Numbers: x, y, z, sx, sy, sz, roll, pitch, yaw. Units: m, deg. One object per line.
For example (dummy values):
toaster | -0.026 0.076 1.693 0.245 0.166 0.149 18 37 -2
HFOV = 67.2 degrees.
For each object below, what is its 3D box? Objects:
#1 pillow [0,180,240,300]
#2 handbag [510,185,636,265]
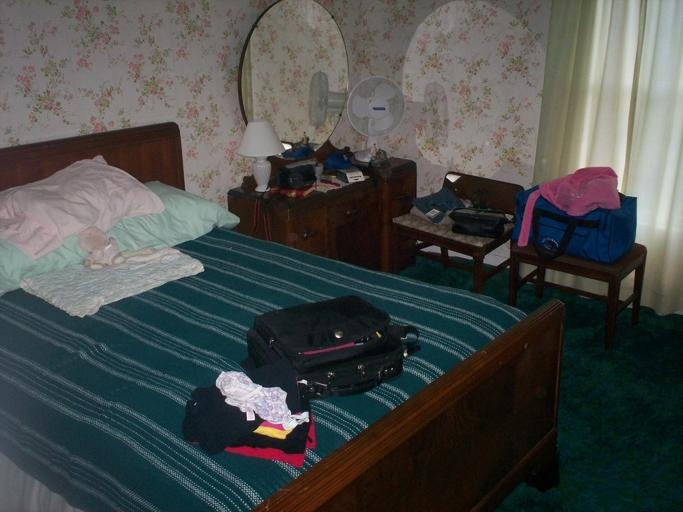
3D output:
pillow | -1.122 -0.109 2.715 0.509 0.166 0.787 20 34 29
handbag | 1.411 -0.132 3.005 0.534 0.315 0.436 18 35 35
